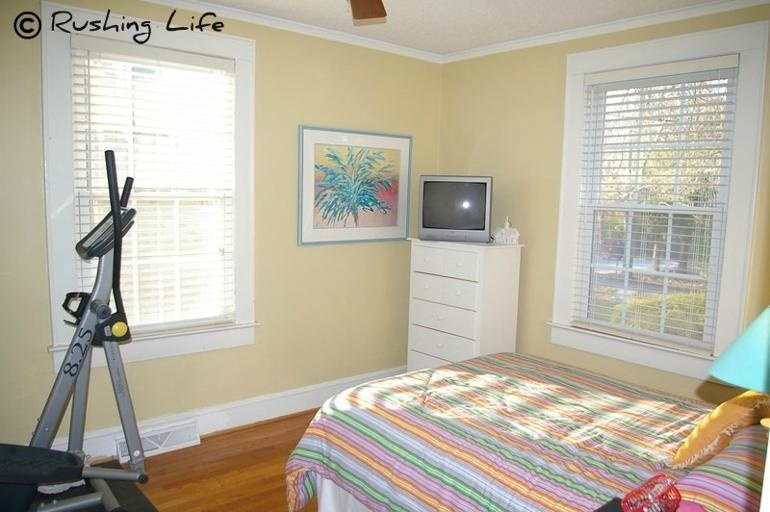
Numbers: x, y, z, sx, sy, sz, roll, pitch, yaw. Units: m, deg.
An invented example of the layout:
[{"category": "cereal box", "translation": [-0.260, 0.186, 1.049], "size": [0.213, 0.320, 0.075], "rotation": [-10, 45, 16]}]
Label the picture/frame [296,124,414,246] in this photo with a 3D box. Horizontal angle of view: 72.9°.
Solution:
[{"category": "picture/frame", "translation": [-0.260, -0.619, 4.708], "size": [1.238, 0.984, 0.057], "rotation": [-5, 12, -38]}]
